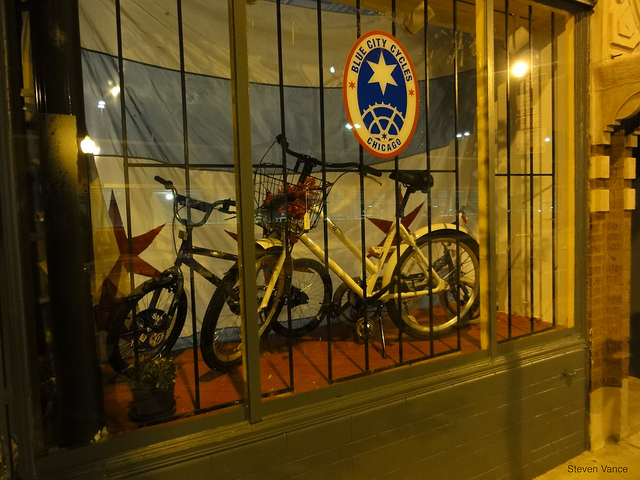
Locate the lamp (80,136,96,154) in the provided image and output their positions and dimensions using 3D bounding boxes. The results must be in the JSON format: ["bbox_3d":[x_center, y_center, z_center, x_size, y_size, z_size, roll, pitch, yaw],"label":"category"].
[{"bbox_3d":[-1.271,-0.512,3.717,0.066,0.071,0.109,-4,-85,-10],"label":"lamp"}]

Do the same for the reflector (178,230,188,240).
[{"bbox_3d":[-0.802,-0.030,3.940,0.046,0.013,0.053,10,-91,-27],"label":"reflector"}]

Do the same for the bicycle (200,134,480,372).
[{"bbox_3d":[0.205,0.048,4.611,1.969,1.160,1.473,-3,-69,-19],"label":"bicycle"}]

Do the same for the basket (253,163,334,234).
[{"bbox_3d":[-0.223,-0.290,4.308,0.543,0.430,0.418,4,-96,7],"label":"basket"}]

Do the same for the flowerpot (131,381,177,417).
[{"bbox_3d":[-0.931,0.893,3.841,0.150,0.191,0.136,-4,-99,10],"label":"flowerpot"}]

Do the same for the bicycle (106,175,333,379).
[{"bbox_3d":[-0.632,0.232,4.322,1.600,0.868,1.084,-12,-61,-52],"label":"bicycle"}]
